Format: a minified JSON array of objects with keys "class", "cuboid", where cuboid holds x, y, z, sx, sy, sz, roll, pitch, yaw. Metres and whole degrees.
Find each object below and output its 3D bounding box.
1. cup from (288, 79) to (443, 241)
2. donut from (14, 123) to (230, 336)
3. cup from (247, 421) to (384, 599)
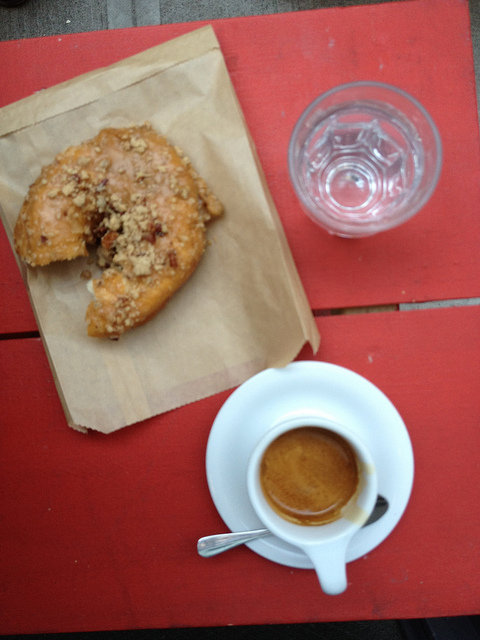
[{"class":"cup","cuboid":[0.148,-0.190,0.756,0.178,0.145,0.137,13,50,13]},{"class":"donut","cuboid":[-0.147,-0.116,0.785,0.192,0.185,0.215,36,58,29]},{"class":"cup","cuboid":[0.088,0.189,0.764,0.179,0.083,0.226,-2,90,3]}]
